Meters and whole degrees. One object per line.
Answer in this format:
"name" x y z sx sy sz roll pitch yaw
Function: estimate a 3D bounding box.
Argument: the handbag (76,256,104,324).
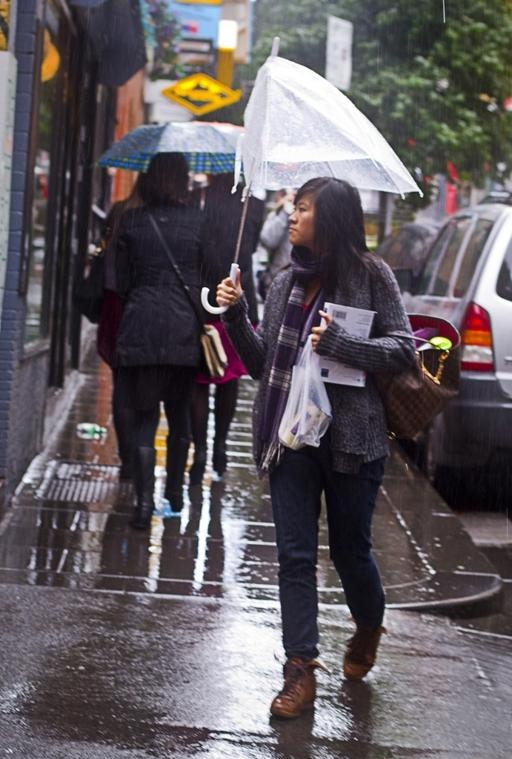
"handbag" -0.916 -0.512 4.205 0.135 0.325 0.235 3 1 -28

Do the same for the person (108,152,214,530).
"person" -0.583 -0.228 4.322 0.620 1.831 0.464 3 1 -33

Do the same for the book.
"book" 0.273 -0.098 2.239 0.169 0.238 0.100 4 1 -6

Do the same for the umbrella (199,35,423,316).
"umbrella" 0.168 -0.707 2.710 0.769 1.026 0.813 -3 11 -6

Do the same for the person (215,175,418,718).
"person" 0.227 0.177 2.309 0.480 1.545 0.508 4 1 -1

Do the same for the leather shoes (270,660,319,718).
"leather shoes" 0.107 0.862 2.127 0.071 0.151 0.160 4 1 26

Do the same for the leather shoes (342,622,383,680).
"leather shoes" 0.346 0.906 2.507 0.066 0.093 0.225 16 33 6
